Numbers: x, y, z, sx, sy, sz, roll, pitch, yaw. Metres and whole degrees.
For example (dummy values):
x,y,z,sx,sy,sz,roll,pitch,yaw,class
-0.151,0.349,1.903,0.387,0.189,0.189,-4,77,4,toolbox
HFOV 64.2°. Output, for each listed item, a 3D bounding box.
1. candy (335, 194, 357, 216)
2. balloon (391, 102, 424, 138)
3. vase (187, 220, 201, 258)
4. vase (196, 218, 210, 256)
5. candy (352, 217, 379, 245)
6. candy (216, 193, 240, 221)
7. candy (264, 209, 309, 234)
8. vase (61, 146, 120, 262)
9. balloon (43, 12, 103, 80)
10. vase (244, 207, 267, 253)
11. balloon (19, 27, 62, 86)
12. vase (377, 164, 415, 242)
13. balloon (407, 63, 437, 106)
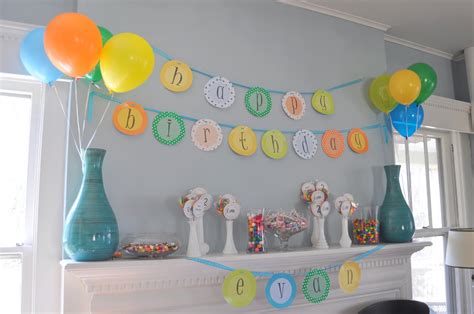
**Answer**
x,y,z,sx,sy,sz,roll,pitch,yaw,class
0.873,0.381,2.999,0.200,0.175,0.109,5,-12,-41,candy
1.511,-0.307,3.352,0.286,0.308,0.310,6,12,27,balloon
-0.302,0.552,2.566,0.087,0.254,0.066,-1,-9,-9,vase
-0.259,0.561,2.678,0.126,0.272,0.131,0,-7,10,vase
1.020,0.595,3.025,0.187,0.210,0.198,0,-13,2,candy
-0.068,0.359,2.683,0.140,0.190,0.064,-26,5,-23,candy
0.354,0.489,2.769,0.204,0.118,0.210,5,-11,-19,candy
-0.935,0.304,2.414,0.320,0.714,0.124,1,-9,-24,vase
-1.044,-0.687,2.397,0.384,0.409,0.379,-3,8,-19,balloon
0.129,0.522,2.762,0.191,0.323,0.190,-5,3,-44,vase
-1.262,-0.627,2.470,0.257,0.340,0.197,-23,13,-30,balloon
1.310,0.395,3.167,0.279,0.644,0.167,-5,-9,12,vase
1.586,-0.621,3.240,0.251,0.331,0.255,7,-1,-28,balloon
